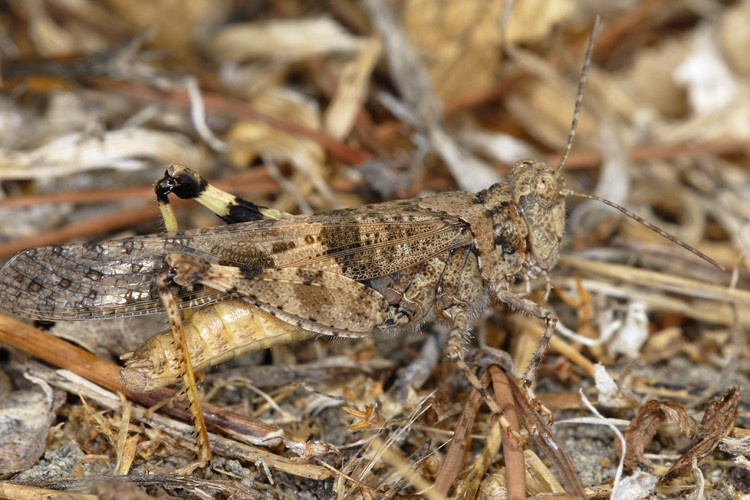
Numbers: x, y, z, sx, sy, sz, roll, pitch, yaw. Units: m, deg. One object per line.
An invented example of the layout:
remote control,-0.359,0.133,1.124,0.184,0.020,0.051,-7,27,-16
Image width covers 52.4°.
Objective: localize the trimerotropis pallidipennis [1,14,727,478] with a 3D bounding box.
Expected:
trimerotropis pallidipennis,-0.251,0.159,3.763,2.662,0.797,0.984,-7,78,-2
